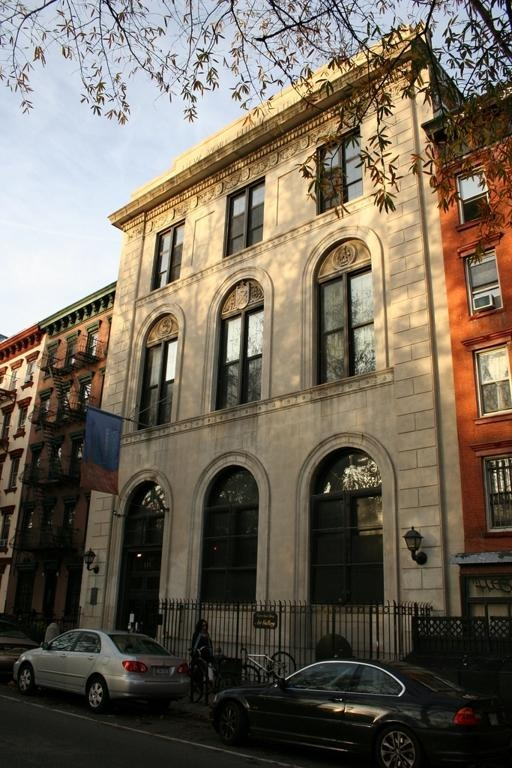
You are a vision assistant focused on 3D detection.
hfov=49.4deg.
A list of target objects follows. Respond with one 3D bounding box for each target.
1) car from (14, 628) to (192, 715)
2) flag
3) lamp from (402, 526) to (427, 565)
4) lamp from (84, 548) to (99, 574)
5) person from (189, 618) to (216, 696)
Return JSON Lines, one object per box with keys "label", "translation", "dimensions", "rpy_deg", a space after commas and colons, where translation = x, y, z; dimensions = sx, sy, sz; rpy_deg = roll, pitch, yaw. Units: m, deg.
{"label": "car", "translation": [-3.139, 5.634, 11.174], "dimensions": [4.447, 1.282, 1.672], "rpy_deg": [-20, -32, 41]}
{"label": "flag", "translation": [-5.186, 2.213, 18.826], "dimensions": [0.635, 2.872, 1.420], "rpy_deg": [-17, -30, 39]}
{"label": "lamp", "translation": [3.790, 3.916, 13.313], "dimensions": [0.463, 0.781, 0.534], "rpy_deg": [-13, -28, 33]}
{"label": "lamp", "translation": [-6.785, 7.302, 22.859], "dimensions": [0.611, 0.990, 1.067], "rpy_deg": [15, -26, -28]}
{"label": "person", "translation": [-1.259, 6.450, 12.977], "dimensions": [0.635, 1.998, 0.553], "rpy_deg": [-8, -14, 42]}
